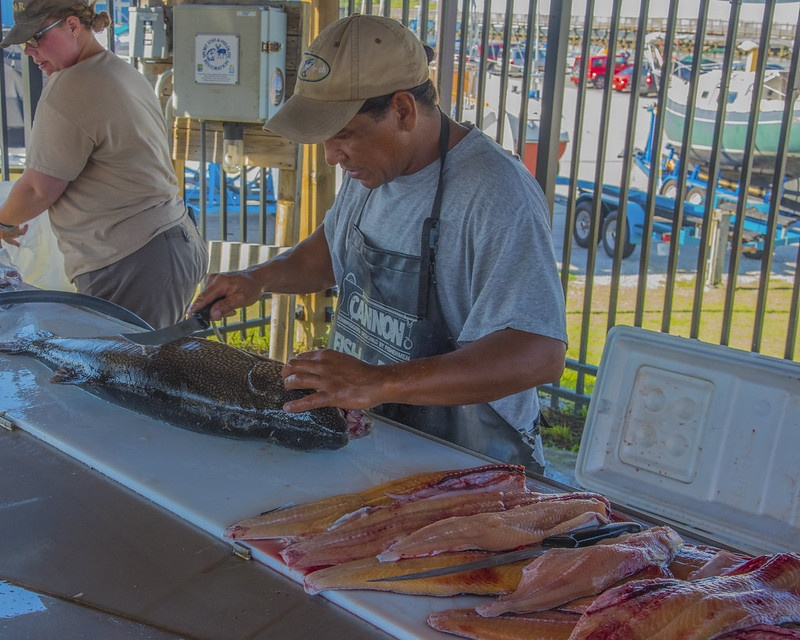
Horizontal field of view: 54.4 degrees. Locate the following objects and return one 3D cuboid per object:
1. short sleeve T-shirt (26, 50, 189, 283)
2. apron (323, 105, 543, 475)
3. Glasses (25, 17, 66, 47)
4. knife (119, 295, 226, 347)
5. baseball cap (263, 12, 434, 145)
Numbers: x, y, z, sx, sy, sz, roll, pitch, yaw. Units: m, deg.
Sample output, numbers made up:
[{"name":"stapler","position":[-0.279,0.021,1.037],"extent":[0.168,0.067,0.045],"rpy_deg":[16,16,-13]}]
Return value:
[{"name":"short sleeve T-shirt","position":[-1.579,-0.843,4.255],"extent":[0.741,1.092,1.073],"rpy_deg":[7,23,11]},{"name":"apron","position":[0.134,-0.208,2.943],"extent":[0.697,1.185,0.962],"rpy_deg":[-28,48,-33]},{"name":"Glasses","position":[-1.729,-1.385,3.814],"extent":[0.149,0.044,0.148],"rpy_deg":[-39,37,-7]},{"name":"knife","position":[-0.796,0.009,2.837],"extent":[0.510,0.101,0.065],"rpy_deg":[-25,-8,-48]},{"name":"baseball cap","position":[-0.207,-0.789,2.526],"extent":[0.552,0.273,0.354],"rpy_deg":[-28,36,-16]}]
